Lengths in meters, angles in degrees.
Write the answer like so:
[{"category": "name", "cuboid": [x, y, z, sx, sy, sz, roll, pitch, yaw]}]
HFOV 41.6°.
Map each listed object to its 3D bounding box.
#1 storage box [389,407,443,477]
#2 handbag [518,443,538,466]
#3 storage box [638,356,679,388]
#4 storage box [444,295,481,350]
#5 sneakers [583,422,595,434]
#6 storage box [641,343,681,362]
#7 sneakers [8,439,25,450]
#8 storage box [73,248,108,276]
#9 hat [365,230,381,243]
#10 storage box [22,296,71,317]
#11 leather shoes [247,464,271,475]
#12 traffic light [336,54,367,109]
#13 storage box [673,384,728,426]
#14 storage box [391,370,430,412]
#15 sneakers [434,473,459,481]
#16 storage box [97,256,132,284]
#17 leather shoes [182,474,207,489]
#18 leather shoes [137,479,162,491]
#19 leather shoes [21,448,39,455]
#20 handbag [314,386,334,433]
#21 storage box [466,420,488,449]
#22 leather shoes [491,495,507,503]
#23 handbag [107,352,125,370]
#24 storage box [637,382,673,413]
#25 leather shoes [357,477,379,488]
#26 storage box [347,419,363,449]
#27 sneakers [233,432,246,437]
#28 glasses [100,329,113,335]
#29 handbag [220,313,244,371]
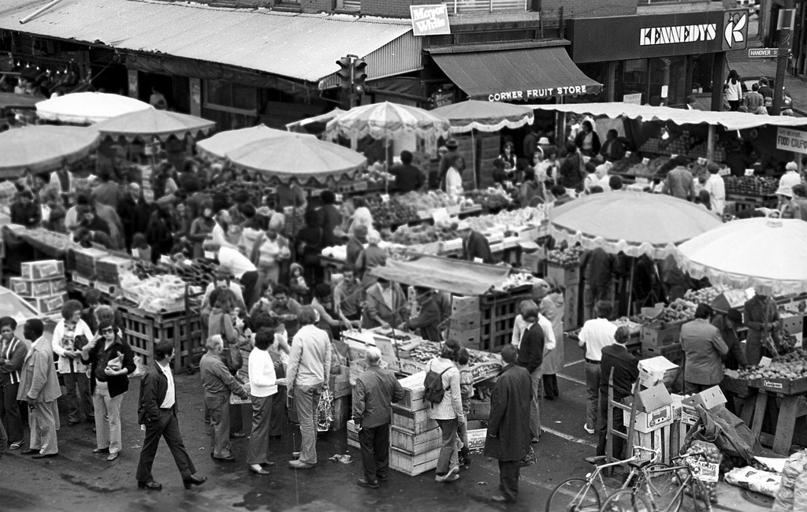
[{"category": "storage box", "cuboid": [0.231, 3.728, 21.621, 1.019, 1.519, 0.965, -12, 18, -43]}, {"category": "handbag", "cuboid": [2.582, 4.094, 21.957, 0.308, 0.523, 0.498, -1, 11, 2]}, {"category": "storage box", "cuboid": [5.234, 2.372, 21.746, 0.806, 0.301, 0.584, -8, 16, -44]}, {"category": "storage box", "cuboid": [1.417, 1.520, 24.371, 0.720, 1.258, 0.310, 0, 9, -1]}, {"category": "sneakers", "cuboid": [3.942, 3.652, 22.759, 0.125, 0.240, 0.368, -3, 10, -20]}, {"category": "storage box", "cuboid": [5.665, 2.078, 23.474, 0.665, 0.350, 0.445, -9, 18, -40]}, {"category": "sneakers", "cuboid": [-8.093, 3.920, 22.180, 0.116, 0.140, 0.337, 1, 2, 28]}, {"category": "storage box", "cuboid": [-7.498, 0.164, 25.098, 0.669, 0.581, 0.950, 1, 10, -38]}, {"category": "hat", "cuboid": [-0.728, -0.452, 25.283, 0.312, 0.307, 0.635, -1, 10, -5]}, {"category": "storage box", "cuboid": [-8.242, 1.122, 24.464, 0.954, 0.414, 0.636, -5, 11, -25]}, {"category": "leather shoes", "cuboid": [-2.957, 4.327, 21.652, 0.457, 0.201, 0.181, 7, 21, 17]}, {"category": "traffic light", "cuboid": [-1.508, -5.011, 29.612, 0.918, 1.298, 0.854, -13, 22, -43]}, {"category": "storage box", "cuboid": [6.039, 2.938, 21.528, 0.966, 0.753, 0.673, -11, 12, -37]}, {"category": "storage box", "cuboid": [0.190, 2.715, 21.657, 0.631, 0.445, 0.648, 6, 11, 45]}, {"category": "sneakers", "cuboid": [0.866, 4.467, 21.450, 0.481, 0.216, 0.171, -1, 7, -16]}, {"category": "storage box", "cuboid": [-6.805, 0.327, 24.886, 0.863, 0.591, 0.386, 3, 10, 18]}, {"category": "leather shoes", "cuboid": [-4.186, 4.486, 21.331, 0.513, 0.257, 0.200, -8, 14, -5]}, {"category": "leather shoes", "cuboid": [-5.049, 4.540, 21.318, 0.545, 0.305, 0.200, 1, 8, 1]}, {"category": "leather shoes", "cuboid": [-7.762, 4.039, 22.022, 0.373, 0.092, 0.117, 2, 10, 13]}, {"category": "handbag", "cuboid": [-1.691, 3.240, 22.315, 0.310, 1.110, 0.778, 1, 9, 6]}, {"category": "storage box", "cuboid": [1.529, 3.705, 22.486, 0.464, 0.330, 0.493, -4, 15, -12]}, {"category": "leather shoes", "cuboid": [1.892, 4.781, 20.994, 0.167, 0.074, 0.139, 10, 1, 21]}, {"category": "handbag", "cuboid": [-5.860, 2.149, 21.601, 0.278, 0.083, 0.281, -27, 26, -17]}, {"category": "storage box", "cuboid": [5.012, 2.827, 21.172, 0.725, 0.474, 0.456, -23, 19, -31]}, {"category": "leather shoes", "cuboid": [-0.715, 4.552, 21.312, 0.403, 0.210, 0.169, 8, 4, 14]}, {"category": "storage box", "cuboid": [-1.064, 3.713, 22.271, 0.153, 0.562, 0.494, -4, 10, -24]}, {"category": "sneakers", "cuboid": [-3.485, 3.761, 22.525, 0.254, 0.115, 0.092, -4, 22, 1]}, {"category": "glasses", "cuboid": [-6.069, 1.544, 21.692, 0.275, 0.124, 0.079, 0, 9, 3]}, {"category": "handbag", "cuboid": [-3.668, 1.874, 22.700, 0.426, 1.360, 0.769, -2, 9, -9]}]
